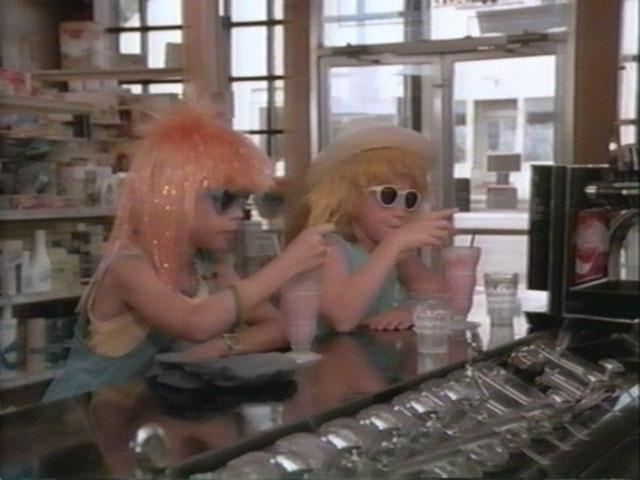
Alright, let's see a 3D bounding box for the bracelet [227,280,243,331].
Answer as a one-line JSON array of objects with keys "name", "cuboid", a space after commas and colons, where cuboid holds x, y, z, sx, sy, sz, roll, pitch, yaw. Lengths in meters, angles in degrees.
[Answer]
[{"name": "bracelet", "cuboid": [-0.186, 0.149, 1.497, 0.033, 0.110, 0.054, 1, 13, -14]}]
